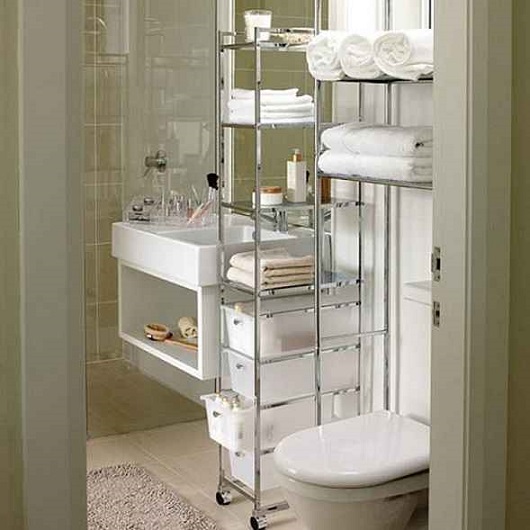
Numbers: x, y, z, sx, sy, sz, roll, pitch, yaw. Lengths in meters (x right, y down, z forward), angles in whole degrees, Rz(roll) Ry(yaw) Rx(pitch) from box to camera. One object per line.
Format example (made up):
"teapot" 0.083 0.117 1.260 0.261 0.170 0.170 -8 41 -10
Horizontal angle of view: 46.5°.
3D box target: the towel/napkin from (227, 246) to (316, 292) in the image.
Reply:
"towel/napkin" 0.022 0.005 2.471 0.281 0.130 0.342 -5 10 -29

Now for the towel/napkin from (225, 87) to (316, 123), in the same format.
"towel/napkin" 0.025 -0.628 2.401 0.277 0.145 0.337 -5 10 -28

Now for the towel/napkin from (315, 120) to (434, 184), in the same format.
"towel/napkin" 0.341 -0.359 1.973 0.085 0.176 0.508 -5 10 -30

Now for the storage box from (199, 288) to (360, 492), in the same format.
"storage box" 0.019 0.431 2.884 0.728 1.144 0.585 -2 6 -29

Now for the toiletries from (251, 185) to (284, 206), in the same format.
"toiletries" 0.010 -0.287 2.416 0.082 0.060 0.082 -6 10 -39

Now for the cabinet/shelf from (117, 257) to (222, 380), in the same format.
"cabinet/shelf" -0.470 0.230 3.024 0.262 0.372 0.517 -5 12 -33
